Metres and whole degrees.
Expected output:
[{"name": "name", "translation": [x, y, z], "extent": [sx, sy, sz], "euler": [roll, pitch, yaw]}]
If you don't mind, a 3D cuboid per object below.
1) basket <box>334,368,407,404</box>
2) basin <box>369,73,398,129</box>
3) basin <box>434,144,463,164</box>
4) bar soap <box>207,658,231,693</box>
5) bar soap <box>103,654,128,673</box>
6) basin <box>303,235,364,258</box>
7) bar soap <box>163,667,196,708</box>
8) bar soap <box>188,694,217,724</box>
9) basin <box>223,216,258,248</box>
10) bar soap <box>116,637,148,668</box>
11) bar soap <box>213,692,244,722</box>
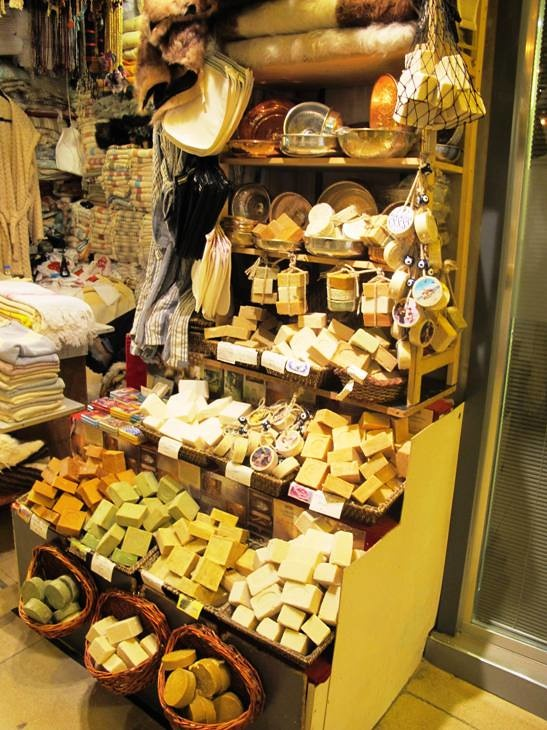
[{"name": "basket", "translation": [0.303, 0.041, 1.677], "extent": [0.141, 0.058, 0.121], "euler": [-9, 13, -43]}, {"name": "basin", "translation": [0.309, -0.737, 1.603], "extent": [0.069, 0.161, 0.099], "euler": [5, 11, 5]}, {"name": "basin", "translation": [0.511, -0.617, 1.685], "extent": [0.092, 0.041, 0.095], "euler": [1, 18, 0]}, {"name": "bar soap", "translation": [-0.144, 0.865, 1.600], "extent": [0.034, 0.083, 0.084], "euler": [-16, 26, -22]}, {"name": "bar soap", "translation": [-0.492, 0.910, 1.770], "extent": [0.051, 0.033, 0.051], "euler": [12, -7, -44]}, {"name": "basin", "translation": [0.176, -0.364, 1.767], "extent": [0.189, 0.055, 0.071], "euler": [10, 12, 27]}, {"name": "bar soap", "translation": [-0.256, 0.885, 1.593], "extent": [0.038, 0.105, 0.104], "euler": [47, 15, -30]}, {"name": "bar soap", "translation": [-0.195, 0.942, 1.564], "extent": [0.068, 0.045, 0.067], "euler": [15, -7, -30]}, {"name": "basin", "translation": [-0.123, -0.478, 2.076], "extent": [0.112, 0.077, 0.108], "euler": [4, 13, -1]}, {"name": "bar soap", "translation": [-0.440, 0.888, 1.778], "extent": [0.090, 0.032, 0.068], "euler": [31, 7, 42]}, {"name": "bar soap", "translation": [-0.127, 0.950, 1.594], "extent": [0.090, 0.078, 0.058], "euler": [6, 11, 8]}]
